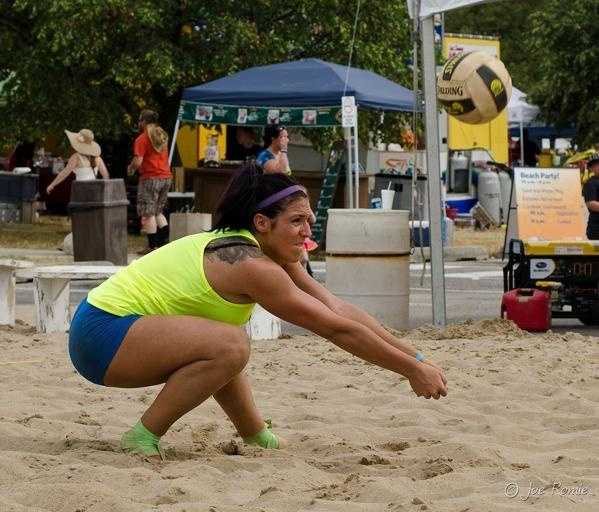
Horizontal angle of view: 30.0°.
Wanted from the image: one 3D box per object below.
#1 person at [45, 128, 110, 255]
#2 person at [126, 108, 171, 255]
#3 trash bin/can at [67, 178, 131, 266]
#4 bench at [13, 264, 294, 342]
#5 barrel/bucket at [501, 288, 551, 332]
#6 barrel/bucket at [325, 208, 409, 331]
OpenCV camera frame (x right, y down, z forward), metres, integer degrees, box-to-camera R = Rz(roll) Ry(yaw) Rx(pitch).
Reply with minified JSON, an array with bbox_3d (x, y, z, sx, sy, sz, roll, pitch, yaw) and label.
[{"bbox_3d":[-2.959,-0.852,14.890,0.809,1.523,0.523,3,-4,-26],"label":"person"},{"bbox_3d":[-2.100,-1.006,15.278,0.704,1.894,0.636,2,7,19],"label":"person"},{"bbox_3d":[-2.497,-0.410,13.726,0.708,1.054,0.745,0,1,-13],"label":"trash bin/can"},{"bbox_3d":[-1.584,0.578,10.111,3.167,0.956,1.340,0,2,10],"label":"bench"},{"bbox_3d":[2.142,0.537,10.615,0.501,0.448,0.504,3,-5,0],"label":"barrel/bucket"},{"bbox_3d":[0.638,0.189,10.447,0.847,1.238,0.835,0,3,0],"label":"barrel/bucket"}]
